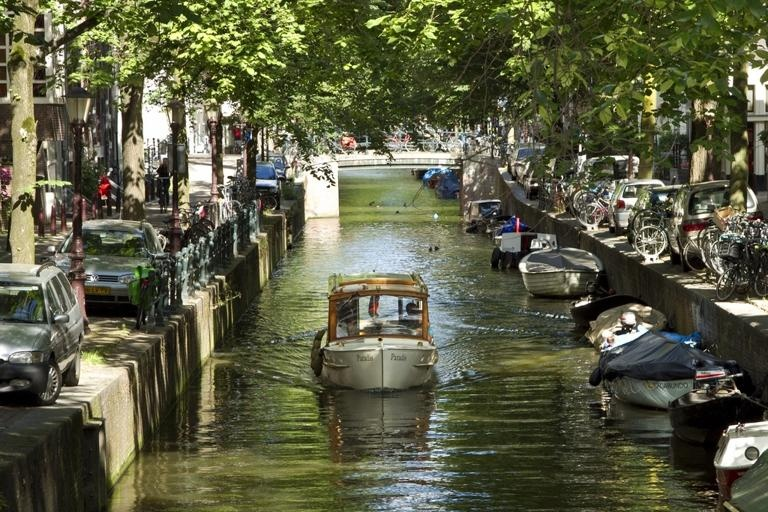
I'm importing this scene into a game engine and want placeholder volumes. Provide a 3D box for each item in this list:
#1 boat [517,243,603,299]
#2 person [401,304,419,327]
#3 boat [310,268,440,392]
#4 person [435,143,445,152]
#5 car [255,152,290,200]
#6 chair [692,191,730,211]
[{"bbox_3d":[6.491,0.646,40.083,1.993,1.177,3.612,-2,0,3],"label":"boat"},{"bbox_3d":[0.700,1.496,27.173,0.485,0.858,0.479,1,3,5],"label":"person"},{"bbox_3d":[-0.203,1.987,27.682,2.817,2.639,5.507,0,0,-2],"label":"boat"},{"bbox_3d":[5.307,-9.885,101.639,0.726,0.727,0.174,-8,-1,17],"label":"person"},{"bbox_3d":[-6.304,-4.426,60.131,2.284,1.838,4.976,0,3,1],"label":"car"},{"bbox_3d":[8.929,-1.475,30.298,0.581,0.395,0.913,-4,-2,-8],"label":"chair"}]
